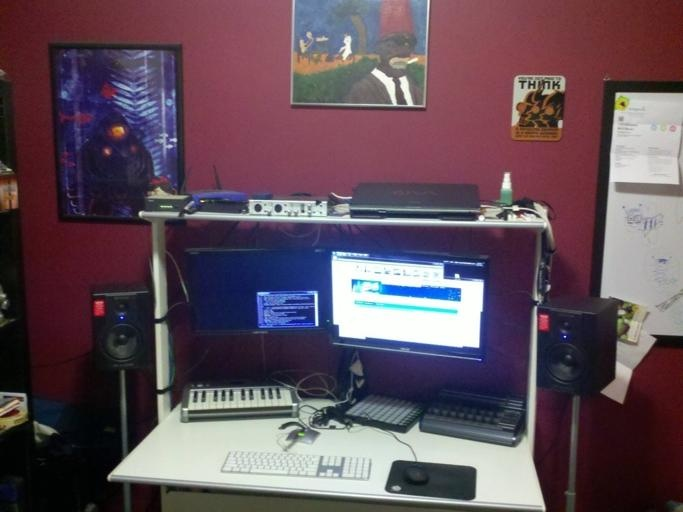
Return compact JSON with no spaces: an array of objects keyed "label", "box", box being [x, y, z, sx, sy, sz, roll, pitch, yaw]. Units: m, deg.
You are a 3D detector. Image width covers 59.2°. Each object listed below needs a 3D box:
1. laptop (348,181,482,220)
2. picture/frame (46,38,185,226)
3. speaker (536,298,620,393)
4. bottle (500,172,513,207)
[{"label":"laptop","box":[0.329,-0.250,2.673,0.554,0.136,0.291,1,11,9]},{"label":"picture/frame","box":[-1.103,-0.652,2.969,0.849,1.197,0.051,1,9,-2]},{"label":"speaker","box":[1.003,0.379,2.699,0.293,0.452,0.397,0,3,31]},{"label":"bottle","box":[0.755,-0.312,2.759,0.047,0.140,0.211,2,11,15]}]
